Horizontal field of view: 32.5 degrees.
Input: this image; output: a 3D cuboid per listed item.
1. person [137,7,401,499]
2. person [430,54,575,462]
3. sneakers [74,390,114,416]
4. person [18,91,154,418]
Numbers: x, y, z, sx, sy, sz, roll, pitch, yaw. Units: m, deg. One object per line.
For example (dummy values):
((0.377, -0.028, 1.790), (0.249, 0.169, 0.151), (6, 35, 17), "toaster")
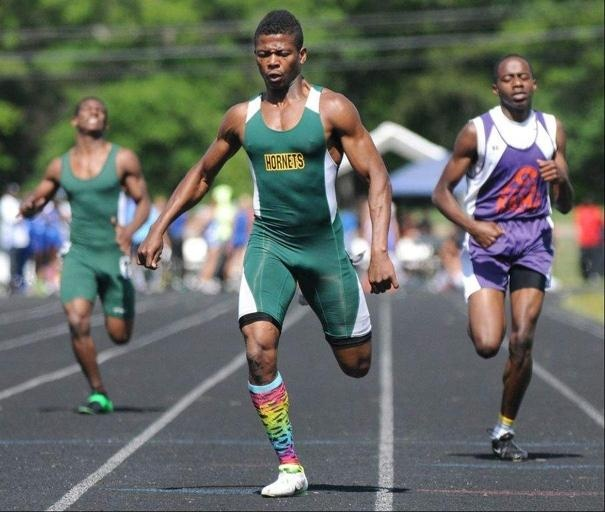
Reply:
((-0.094, -0.042, 5.653), (1.214, 2.441, 0.949), (-6, 18, -2), "person")
((1.326, 0.008, 6.501), (0.800, 2.388, 0.716), (-7, 18, -7), "person")
((-1.343, 0.958, 6.670), (0.103, 0.111, 0.245), (4, -5, 29), "sneakers")
((-1.565, -0.114, 7.382), (0.761, 1.838, 1.458), (-4, 18, 3), "person")
